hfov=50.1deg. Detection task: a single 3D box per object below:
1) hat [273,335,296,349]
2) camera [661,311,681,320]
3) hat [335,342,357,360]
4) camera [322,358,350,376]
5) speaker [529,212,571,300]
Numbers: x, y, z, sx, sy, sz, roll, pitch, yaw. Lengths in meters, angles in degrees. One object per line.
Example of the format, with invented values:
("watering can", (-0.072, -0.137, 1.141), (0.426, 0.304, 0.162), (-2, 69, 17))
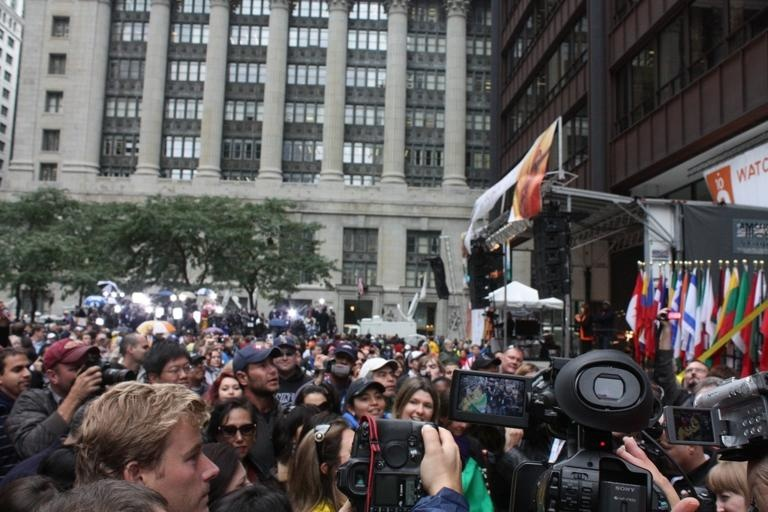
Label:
("hat", (-2.202, 1.878, 18.442), (0.432, 0.337, 0.728), (2, -10, 0))
("camera", (5.319, 1.089, 15.201), (0.353, 0.136, 0.360), (2, -2, -17))
("hat", (-0.858, 2.200, 19.278), (0.448, 0.364, 0.758), (7, -6, 2))
("camera", (-1.030, 2.490, 18.392), (0.333, 0.204, 0.452), (8, -2, -16))
("speaker", (4.852, -0.085, 23.410), (1.031, 2.486, 0.909), (-1, 1, -1))
